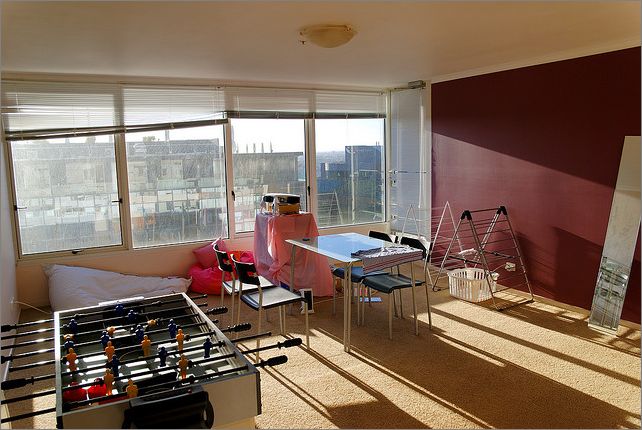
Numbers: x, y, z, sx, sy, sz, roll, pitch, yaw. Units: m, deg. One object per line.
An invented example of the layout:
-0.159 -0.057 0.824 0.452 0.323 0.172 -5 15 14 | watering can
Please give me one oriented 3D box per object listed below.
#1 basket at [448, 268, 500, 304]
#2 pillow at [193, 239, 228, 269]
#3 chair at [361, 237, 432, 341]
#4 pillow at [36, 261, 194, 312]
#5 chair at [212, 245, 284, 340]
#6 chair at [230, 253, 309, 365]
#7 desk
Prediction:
2.099 0.990 5.991 0.599 0.329 0.696 2 -3 -41 | basket
-1.597 0.565 6.158 0.345 0.286 0.125 -27 15 -19 | pillow
0.858 0.834 5.116 0.792 1.032 0.807 5 6 40 | chair
-2.812 0.938 5.717 1.186 0.381 0.865 3 4 -6 | pillow
-0.722 1.010 5.261 0.618 0.873 0.546 1 6 -36 | chair
-0.580 0.989 4.742 0.717 0.999 0.605 -3 5 -30 | chair
-0.311 0.558 6.366 1.107 0.988 1.173 5 20 -17 | desk
